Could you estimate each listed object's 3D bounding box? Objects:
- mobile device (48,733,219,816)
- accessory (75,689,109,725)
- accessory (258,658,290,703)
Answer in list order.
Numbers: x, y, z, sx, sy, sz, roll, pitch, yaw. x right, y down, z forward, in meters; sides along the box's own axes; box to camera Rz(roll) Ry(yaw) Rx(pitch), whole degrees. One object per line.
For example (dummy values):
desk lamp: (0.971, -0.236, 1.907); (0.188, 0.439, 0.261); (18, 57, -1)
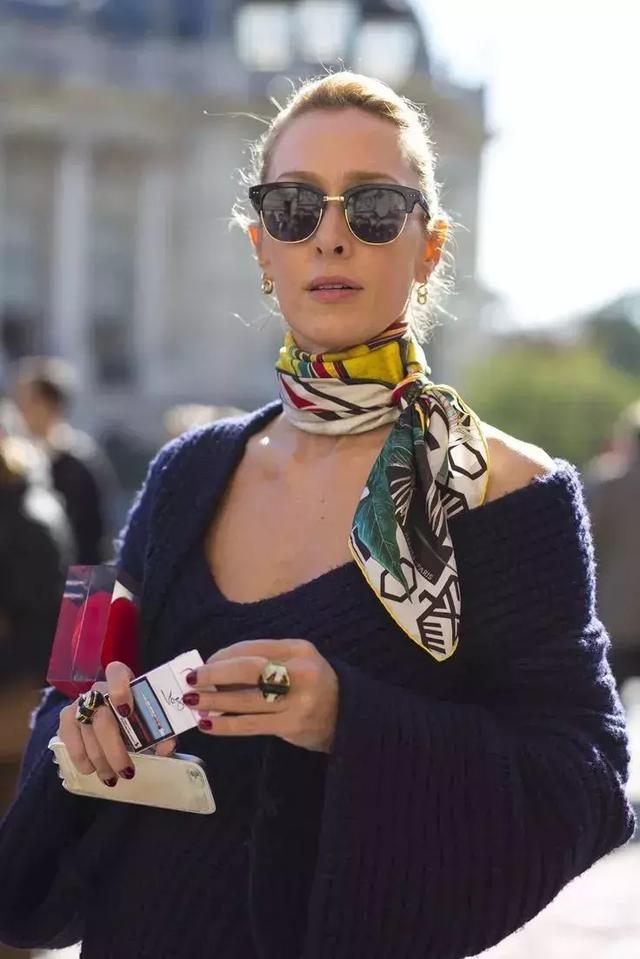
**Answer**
mobile device: (-0.309, 0.512, 2.211); (0.307, 0.157, 0.044); (4, 43, 14)
accessory: (-0.382, 0.385, 2.152); (0.039, 0.056, 0.049); (17, -11, -37)
accessory: (-0.067, 0.320, 2.026); (0.052, 0.059, 0.056); (9, -35, -10)
